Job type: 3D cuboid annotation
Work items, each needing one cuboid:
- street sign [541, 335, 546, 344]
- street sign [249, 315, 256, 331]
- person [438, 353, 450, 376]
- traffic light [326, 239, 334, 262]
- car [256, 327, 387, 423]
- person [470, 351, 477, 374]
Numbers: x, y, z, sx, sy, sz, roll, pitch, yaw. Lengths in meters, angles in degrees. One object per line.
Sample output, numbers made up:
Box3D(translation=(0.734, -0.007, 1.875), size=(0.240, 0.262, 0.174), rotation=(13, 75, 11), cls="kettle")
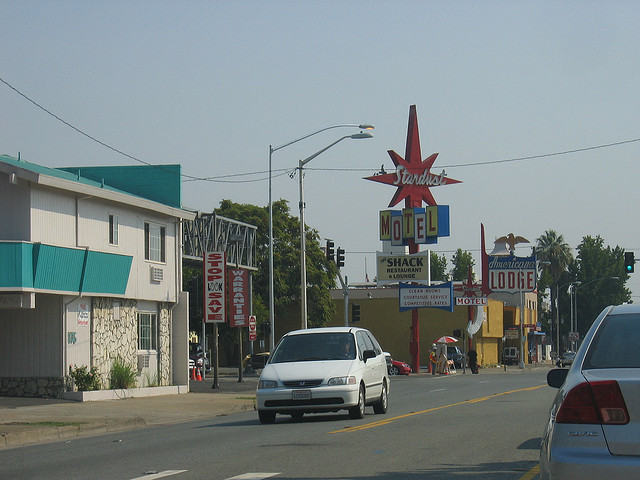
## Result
Box3D(translation=(22.754, 10.175, 101.808), size=(0.219, 0.894, 0.923), rotation=(3, 1, 5), cls="street sign")
Box3D(translation=(-3.152, 3.813, 45.841), size=(0.260, 0.645, 1.047), rotation=(-1, -11, -10), cls="street sign")
Box3D(translation=(7.166, 7.239, 57.986), size=(0.645, 1.293, 1.860), rotation=(-3, -10, 7), cls="person")
Box3D(translation=(0.467, 0.527, 47.393), size=(0.365, 0.798, 0.753), rotation=(-2, -10, 0), cls="traffic light")
Box3D(translation=(0.123, 3.113, 23.367), size=(1.630, 1.426, 3.187), rotation=(-4, -12, 10), cls="car")
Box3D(translation=(8.969, 7.183, 58.466), size=(0.348, 1.241, 0.591), rotation=(-3, -9, 8), cls="person")
